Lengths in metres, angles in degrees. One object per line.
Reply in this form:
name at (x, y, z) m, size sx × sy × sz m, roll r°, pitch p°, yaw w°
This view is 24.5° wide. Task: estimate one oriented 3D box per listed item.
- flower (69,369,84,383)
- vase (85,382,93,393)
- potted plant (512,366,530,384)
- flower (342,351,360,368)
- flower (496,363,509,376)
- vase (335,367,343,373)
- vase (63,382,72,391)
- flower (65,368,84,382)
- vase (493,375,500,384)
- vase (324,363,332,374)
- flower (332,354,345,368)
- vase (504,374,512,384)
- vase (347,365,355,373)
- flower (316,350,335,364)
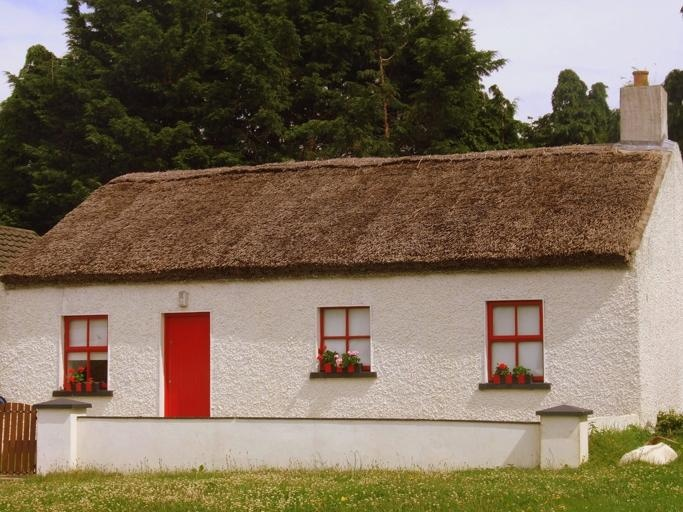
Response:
flower at (-6.293, 2.904, 37.710) m, size 0.315 × 0.225 × 0.321 m, roll -4°, pitch -4°, yaw 27°
vase at (-5.960, 3.176, 37.663) m, size 0.255 × 0.264 × 0.196 m, roll 0°, pitch -6°, yaw -2°
potted plant at (4.097, 2.734, 35.844) m, size 0.385 × 0.403 × 0.345 m, roll -1°, pitch -11°, yaw 8°
flower at (0.227, 2.427, 36.529) m, size 0.336 × 0.250 × 0.342 m, roll 1°, pitch -10°, yaw -3°
flower at (3.673, 2.639, 35.875) m, size 0.377 × 0.319 × 0.290 m, roll -1°, pitch -7°, yaw 5°
vase at (-0.036, 2.675, 36.521) m, size 0.157 × 0.158 × 0.115 m, roll -1°, pitch -8°, yaw 4°
vase at (-6.515, 3.163, 37.621) m, size 0.230 × 0.210 × 0.070 m, roll -4°, pitch -8°, yaw 29°
flower at (-6.308, 2.894, 37.708) m, size 0.327 × 0.176 × 0.334 m, roll 3°, pitch 5°, yaw -3°
vase at (3.539, 2.833, 35.888) m, size 0.166 × 0.168 × 0.155 m, roll -1°, pitch -8°, yaw 1°
vase at (-0.295, 2.646, 36.556) m, size 0.197 × 0.295 × 0.202 m, roll -1°, pitch 0°, yaw 10°
flower at (-0.041, 2.451, 36.455) m, size 0.239 × 0.255 × 0.242 m, roll 0°, pitch -7°, yaw -4°
vase at (3.794, 2.825, 35.783) m, size 0.178 × 0.279 × 0.183 m, roll 1°, pitch -21°, yaw 1°
vase at (0.242, 2.641, 36.519) m, size 0.192 × 0.192 × 0.150 m, roll -1°, pitch 1°, yaw 4°
flower at (-0.309, 2.362, 36.678) m, size 0.326 × 0.294 × 0.334 m, roll 3°, pitch -1°, yaw 5°
